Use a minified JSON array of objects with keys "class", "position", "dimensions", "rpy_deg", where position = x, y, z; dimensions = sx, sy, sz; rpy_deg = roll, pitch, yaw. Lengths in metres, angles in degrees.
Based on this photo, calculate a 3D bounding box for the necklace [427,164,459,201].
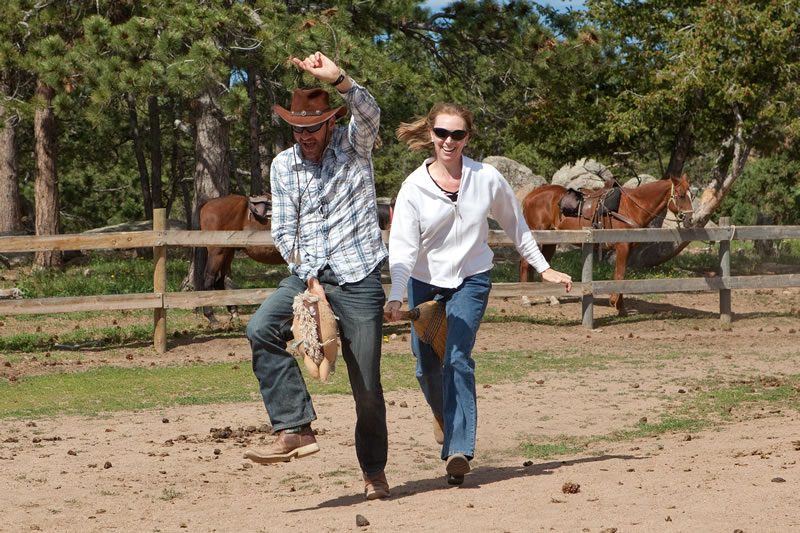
[{"class":"necklace","position":[0.700,-1.267,19.430],"dimensions":[0.455,0.471,0.116],"rpy_deg":[-42,-3,-33]}]

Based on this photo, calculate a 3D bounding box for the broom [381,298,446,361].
[{"class":"broom","position":[0.410,0.835,19.450],"dimensions":[1.368,0.858,0.479],"rpy_deg":[6,-8,-9]}]

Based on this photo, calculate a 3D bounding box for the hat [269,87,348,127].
[{"class":"hat","position":[-1.350,-2.384,19.145],"dimensions":[1.039,0.547,0.525],"rpy_deg":[-3,13,-9]}]
